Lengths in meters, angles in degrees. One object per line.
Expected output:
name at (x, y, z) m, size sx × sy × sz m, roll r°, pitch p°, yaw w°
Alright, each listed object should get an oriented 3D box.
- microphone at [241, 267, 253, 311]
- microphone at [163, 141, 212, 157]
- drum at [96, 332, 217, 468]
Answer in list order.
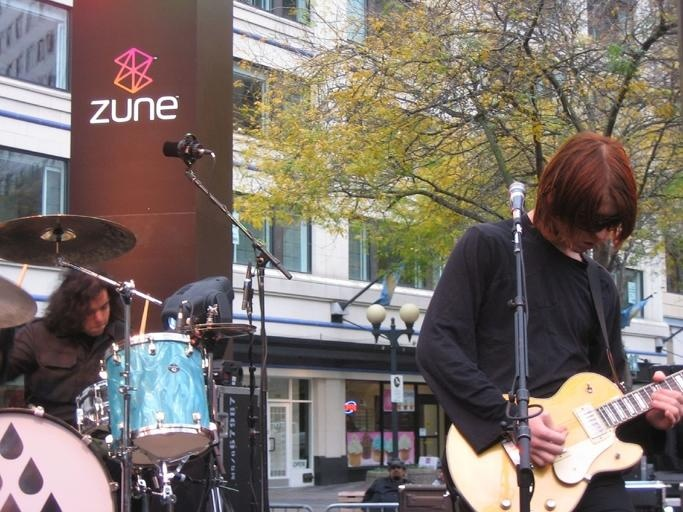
microphone at (-1.031, 0.340, 14.271) m, size 0.110 × 0.480 × 0.155 m, roll 5°, pitch 6°, yaw 11°
microphone at (-1.631, -1.181, 14.515) m, size 0.658 × 0.218 × 0.199 m, roll 2°, pitch 9°, yaw 5°
drum at (-1.793, 1.459, 13.489) m, size 1.175 × 1.113 × 1.197 m, roll -16°, pitch -26°, yaw 9°
